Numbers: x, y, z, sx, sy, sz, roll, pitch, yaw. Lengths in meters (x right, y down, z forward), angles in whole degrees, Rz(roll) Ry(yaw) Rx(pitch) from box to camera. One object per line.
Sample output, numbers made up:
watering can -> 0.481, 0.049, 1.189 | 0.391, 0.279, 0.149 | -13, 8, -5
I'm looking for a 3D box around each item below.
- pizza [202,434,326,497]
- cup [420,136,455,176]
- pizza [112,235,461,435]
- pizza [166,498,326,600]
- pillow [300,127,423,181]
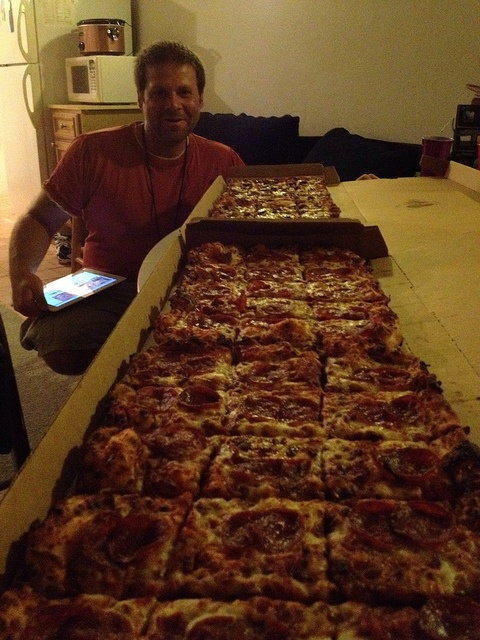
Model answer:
pizza -> 0.046, 0.247, 0.892 | 0.281, 0.055, 0.204 | -2, 15, 3
cup -> 1.195, -0.998, 2.836 | 0.182, 0.216, 0.436 | 13, 25, 19
pizza -> 0.116, -0.063, 1.397 | 0.675, 0.133, 0.945 | 6, 24, 2
pizza -> 0.015, 0.319, 0.647 | 0.216, 0.042, 0.149 | 5, 24, 0
pillow -> 0.964, -1.278, 3.606 | 0.515, 0.347, 0.967 | -11, 29, -32
